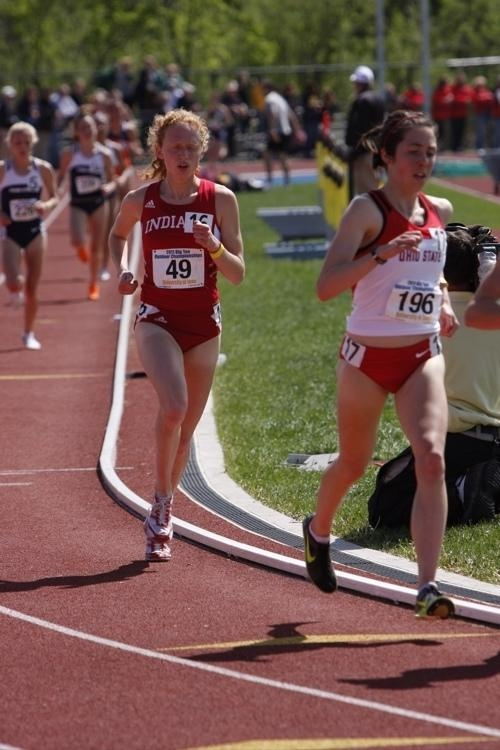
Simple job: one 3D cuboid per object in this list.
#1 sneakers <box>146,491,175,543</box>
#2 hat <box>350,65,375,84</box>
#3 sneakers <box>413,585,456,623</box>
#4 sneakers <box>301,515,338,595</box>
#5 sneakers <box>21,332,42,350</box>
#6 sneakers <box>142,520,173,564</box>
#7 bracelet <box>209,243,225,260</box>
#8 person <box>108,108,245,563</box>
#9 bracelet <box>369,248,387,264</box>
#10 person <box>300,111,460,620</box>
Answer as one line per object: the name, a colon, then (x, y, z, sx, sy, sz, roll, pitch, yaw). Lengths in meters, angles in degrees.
sneakers: (-0.421, 0.670, 3.835, 0.094, 0.245, 0.118, 2, -23, -10)
hat: (1.436, -3.885, 10.549, 0.205, 0.244, 0.548, 0, 13, 16)
sneakers: (0.603, 0.758, 2.711, 0.078, 0.081, 0.156, -21, -31, -5)
sneakers: (0.255, 0.720, 3.279, 0.117, 0.308, 0.129, -13, -9, -33)
sneakers: (-2.296, -0.352, 8.662, 0.264, 0.227, 0.132, 6, 17, 40)
sneakers: (-0.436, 0.799, 3.840, 0.094, 0.158, 0.252, 4, -7, -17)
bracelet: (-0.136, -0.550, 3.624, 0.065, 0.054, 0.070, -29, 17, 15)
person: (-0.289, -0.180, 3.859, 0.627, 2.092, 0.791, -6, 14, -8)
bracelet: (0.420, -0.390, 2.709, 0.038, 0.054, 0.057, -43, 16, -2)
person: (0.426, -0.002, 2.980, 0.604, 1.857, 0.868, -1, 14, 13)
